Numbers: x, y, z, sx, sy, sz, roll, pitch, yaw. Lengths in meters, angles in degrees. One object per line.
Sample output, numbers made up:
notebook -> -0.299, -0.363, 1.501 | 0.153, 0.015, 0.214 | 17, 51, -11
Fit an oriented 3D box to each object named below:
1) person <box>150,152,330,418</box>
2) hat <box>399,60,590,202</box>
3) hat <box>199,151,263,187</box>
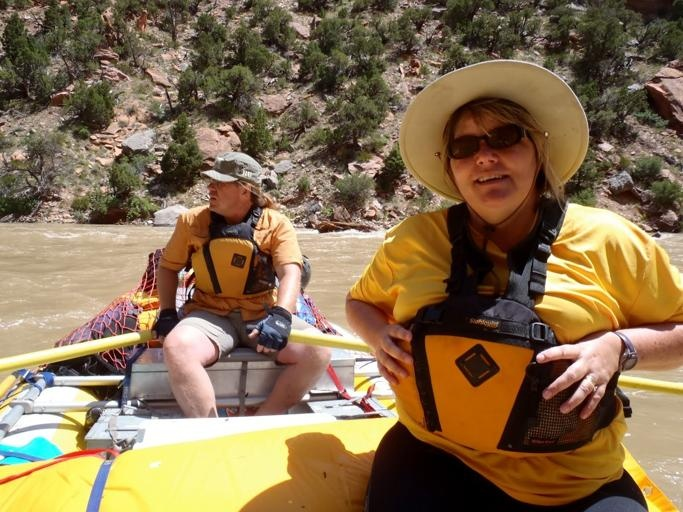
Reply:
person -> -0.590, 0.266, 3.576 | 1.016, 1.731, 0.932 | -2, 1, 13
hat -> 0.625, -0.559, 2.383 | 0.629, 0.665, 0.160 | 16, 39, -2
hat -> -0.670, -0.558, 3.740 | 0.394, 0.206, 0.291 | 6, 14, -41
